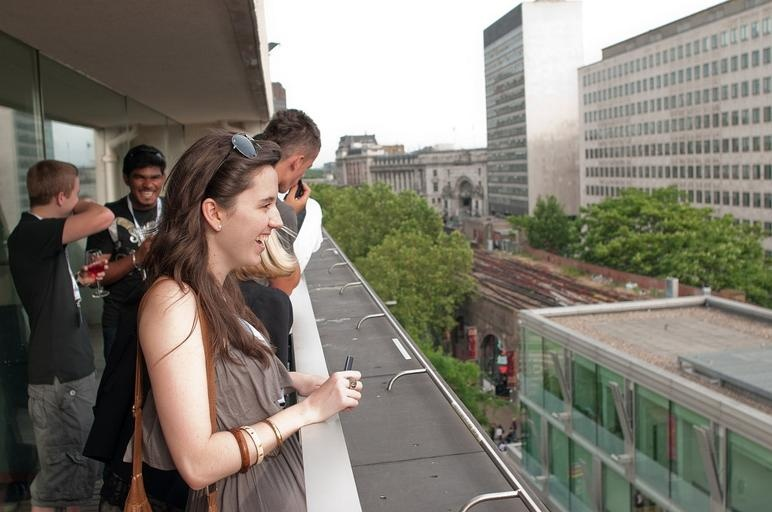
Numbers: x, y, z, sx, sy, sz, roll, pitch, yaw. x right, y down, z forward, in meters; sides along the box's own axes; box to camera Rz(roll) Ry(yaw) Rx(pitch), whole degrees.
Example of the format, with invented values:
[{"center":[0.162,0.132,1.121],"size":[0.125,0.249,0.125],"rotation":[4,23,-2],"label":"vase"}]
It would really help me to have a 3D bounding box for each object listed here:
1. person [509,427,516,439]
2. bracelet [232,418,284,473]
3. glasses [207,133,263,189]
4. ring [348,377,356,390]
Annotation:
[{"center":[4.948,6.870,22.003],"size":[0.243,0.264,0.794],"rotation":[-8,-3,9],"label":"person"},{"center":[-0.410,0.595,1.777],"size":[0.161,0.144,0.053],"rotation":[-2,9,-18],"label":"bracelet"},{"center":[-0.507,-0.306,1.811],"size":[0.171,0.051,0.171],"rotation":[-39,1,24],"label":"glasses"},{"center":[-0.119,0.441,1.955],"size":[0.022,0.033,0.031],"rotation":[2,-24,-23],"label":"ring"}]
